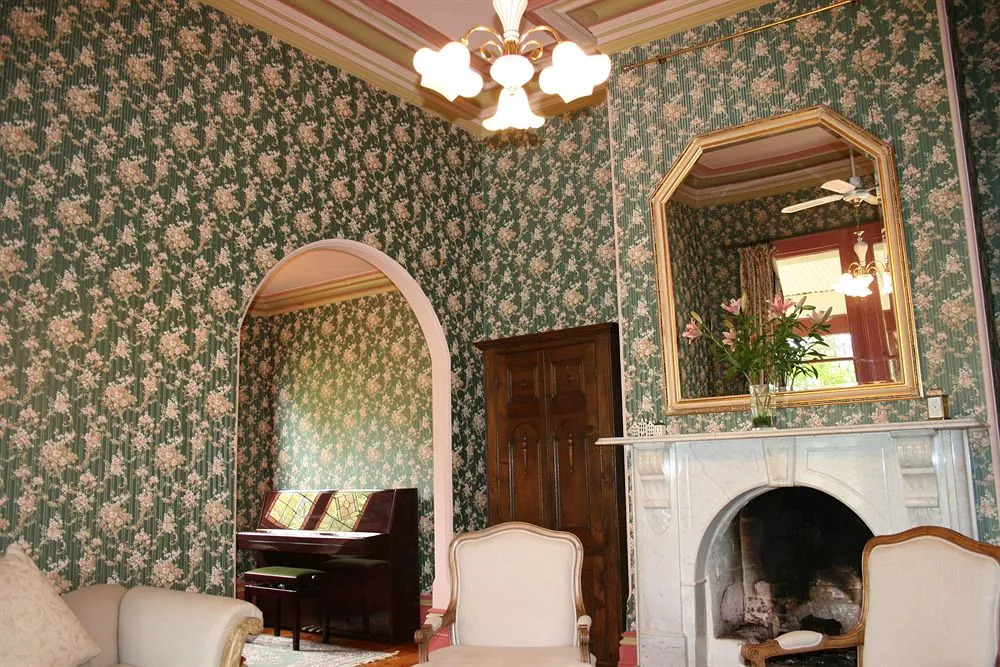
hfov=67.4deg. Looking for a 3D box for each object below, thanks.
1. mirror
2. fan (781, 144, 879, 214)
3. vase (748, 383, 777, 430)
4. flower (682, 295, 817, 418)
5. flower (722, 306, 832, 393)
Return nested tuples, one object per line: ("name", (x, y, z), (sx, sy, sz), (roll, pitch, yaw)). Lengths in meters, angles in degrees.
("mirror", (2.106, -0.481, 5.289), (1.925, 2.368, 0.111), (-10, -15, 33))
("fan", (2.300, -1.029, 5.198), (0.442, 0.424, 0.426), (4, 8, -31))
("vase", (1.836, 0.508, 5.235), (0.139, 0.317, 0.075), (-5, -13, 19))
("flower", (1.917, 0.266, 5.459), (0.775, 0.844, 0.797), (-2, -18, 18))
("flower", (1.956, 0.088, 5.376), (0.596, 0.663, 0.571), (1, 0, 0))
